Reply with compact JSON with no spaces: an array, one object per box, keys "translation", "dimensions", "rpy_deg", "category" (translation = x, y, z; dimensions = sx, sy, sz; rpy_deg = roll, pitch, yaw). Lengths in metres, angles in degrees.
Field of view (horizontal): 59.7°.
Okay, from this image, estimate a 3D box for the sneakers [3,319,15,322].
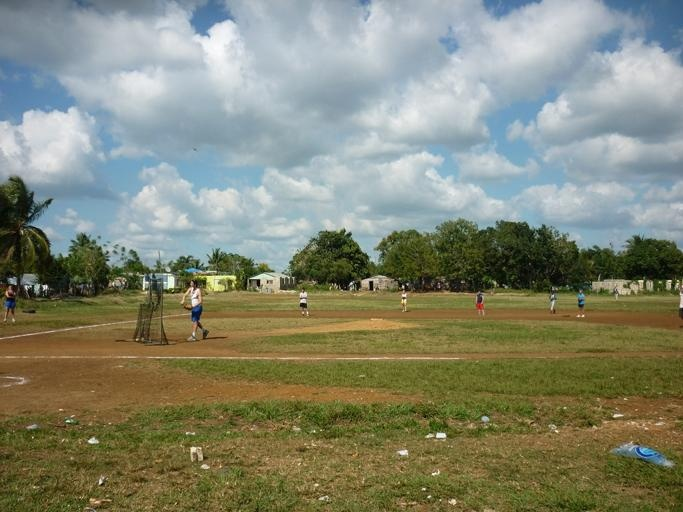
[{"translation":[-16.889,3.252,30.203],"dimensions":[0.574,0.249,0.175],"rpy_deg":[10,-10,-34],"category":"sneakers"}]
